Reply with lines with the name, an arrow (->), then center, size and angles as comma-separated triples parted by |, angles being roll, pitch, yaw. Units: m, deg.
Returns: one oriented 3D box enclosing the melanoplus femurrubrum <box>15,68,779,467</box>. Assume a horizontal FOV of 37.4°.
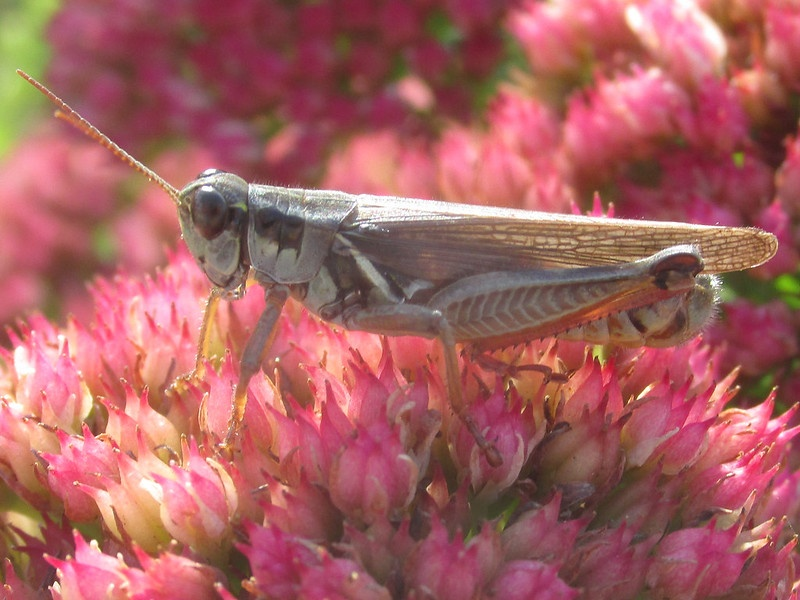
melanoplus femurrubrum -> 0.012, -0.039, 1.653 | 0.965, 0.476, 0.351 | 3, 12, 13
